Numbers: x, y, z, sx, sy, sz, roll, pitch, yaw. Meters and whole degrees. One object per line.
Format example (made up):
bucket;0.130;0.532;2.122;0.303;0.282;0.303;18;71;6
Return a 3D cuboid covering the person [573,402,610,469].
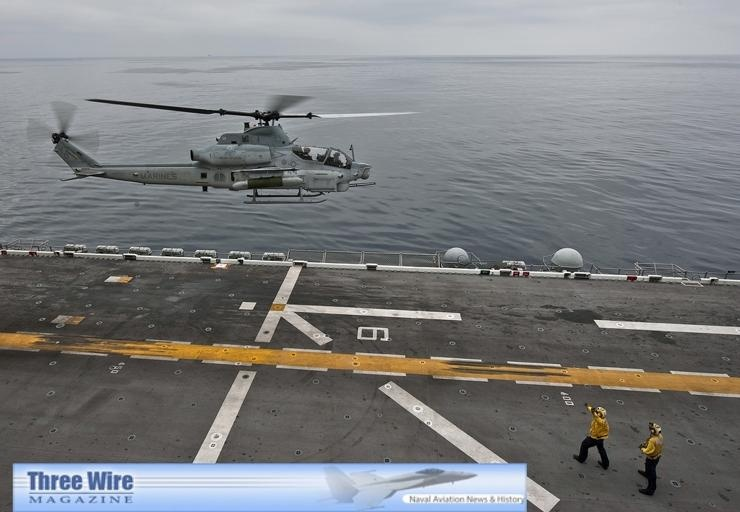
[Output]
person;9.350;7.312;21.726;1.320;2.522;1.130;11;29;19
